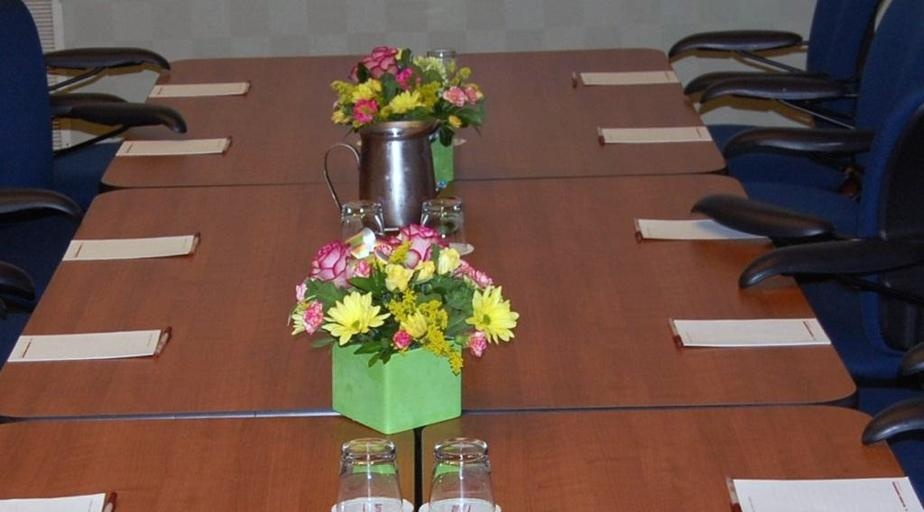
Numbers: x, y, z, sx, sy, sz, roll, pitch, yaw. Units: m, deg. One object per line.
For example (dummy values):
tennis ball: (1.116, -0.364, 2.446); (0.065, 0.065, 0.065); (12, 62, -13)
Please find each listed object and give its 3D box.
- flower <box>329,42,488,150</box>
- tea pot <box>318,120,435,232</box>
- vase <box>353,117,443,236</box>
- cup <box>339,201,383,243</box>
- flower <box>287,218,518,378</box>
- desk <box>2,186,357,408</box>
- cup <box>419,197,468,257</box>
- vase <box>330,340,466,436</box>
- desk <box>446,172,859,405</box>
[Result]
flower: (-0.177, -0.413, 2.276); (0.393, 0.166, 0.397); (-8, 7, 34)
tea pot: (-0.201, -0.233, 2.154); (0.386, 0.355, 0.231); (-4, 15, -2)
vase: (-0.188, -0.240, 2.223); (0.287, 0.310, 0.249); (1, 13, 29)
cup: (-0.266, -0.099, 2.025); (0.125, 0.125, 0.076); (-2, 10, -14)
flower: (-0.129, 0.082, 1.737); (0.521, 0.281, 0.494); (9, -1, -7)
desk: (-0.722, 0.227, 1.958); (0.526, 0.791, 0.186); (-5, -53, -2)
cup: (-0.044, -0.081, 2.123); (0.184, 0.170, 0.107); (-3, 10, -2)
vase: (-0.167, 0.243, 1.670); (0.218, 0.135, 0.212); (-8, 14, -35)
desk: (0.461, 0.139, 1.931); (0.564, 0.767, 0.185); (-4, -55, 0)
